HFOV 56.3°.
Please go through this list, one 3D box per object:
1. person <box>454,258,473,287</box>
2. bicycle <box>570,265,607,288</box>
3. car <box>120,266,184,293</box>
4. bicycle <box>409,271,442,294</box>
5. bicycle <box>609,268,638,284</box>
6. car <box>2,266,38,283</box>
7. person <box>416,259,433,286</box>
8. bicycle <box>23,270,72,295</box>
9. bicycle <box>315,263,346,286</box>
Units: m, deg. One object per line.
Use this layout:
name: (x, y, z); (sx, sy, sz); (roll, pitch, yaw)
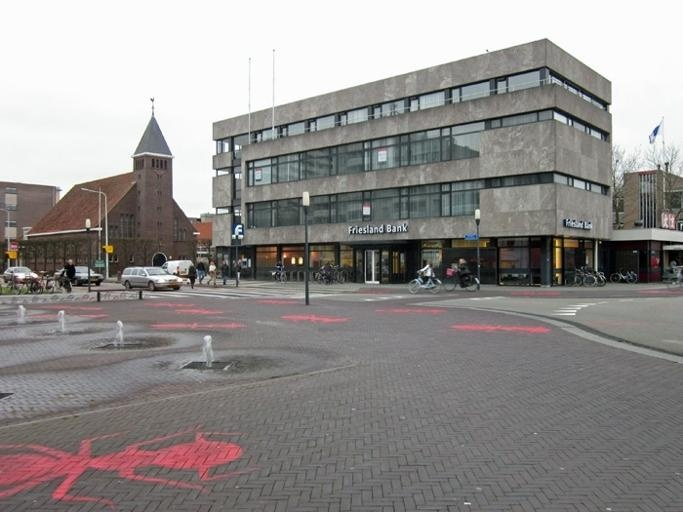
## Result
person: (6.259, 0.920, 32.833); (0.874, 1.512, 1.365); (1, 4, 20)
bicycle: (14.702, 1.191, 37.932); (2.284, 1.451, 1.195); (-1, 2, -10)
car: (-10.860, 1.301, 36.851); (4.135, 1.237, 1.453); (2, 4, 38)
bicycle: (4.191, 1.360, 31.670); (1.787, 1.094, 0.757); (0, 1, 23)
bicycle: (18.923, 1.400, 43.011); (1.462, 0.908, 0.748); (3, 3, 26)
car: (-23.158, 1.288, 46.259); (2.790, 0.935, 1.148); (-5, -6, 44)
person: (4.072, 0.867, 31.508); (0.768, 0.966, 0.911); (-1, 4, -10)
bicycle: (-16.445, 1.495, 35.920); (2.637, 1.498, 1.154); (-1, -1, 13)
bicycle: (-0.730, 1.277, 44.210); (1.845, 1.178, 1.260); (-3, 0, -14)
